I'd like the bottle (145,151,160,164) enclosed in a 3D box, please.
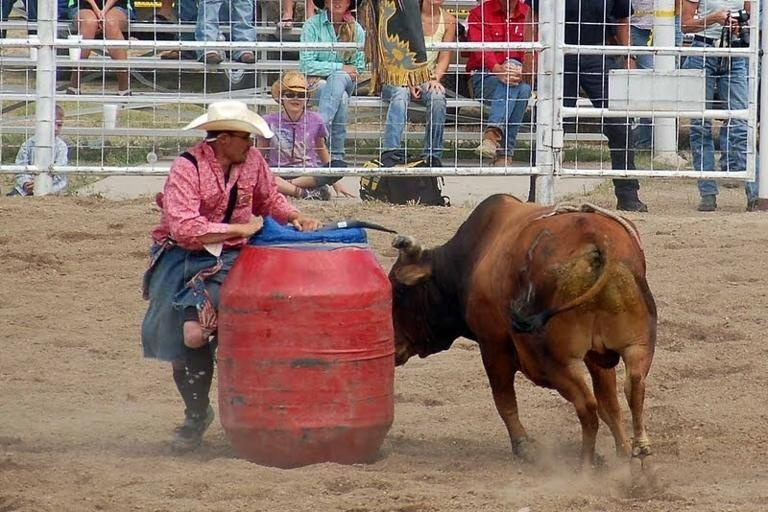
[{"bbox_3d":[-2.663,-1.128,17.151,0.201,0.208,0.047,0,-5,20],"label":"bottle"}]

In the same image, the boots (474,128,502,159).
[{"bbox_3d":[1.147,-1.219,16.399,0.173,0.321,0.454,1,1,27],"label":"boots"}]

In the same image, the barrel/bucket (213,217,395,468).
[{"bbox_3d":[-0.645,0.721,12.656,1.942,2.634,1.651,0,-4,-5],"label":"barrel/bucket"}]

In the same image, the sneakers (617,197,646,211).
[{"bbox_3d":[2.732,-0.560,16.614,0.371,0.163,0.128,0,8,7],"label":"sneakers"}]

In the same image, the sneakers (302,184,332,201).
[{"bbox_3d":[-0.767,-0.699,17.049,0.315,0.227,0.127,4,1,-12],"label":"sneakers"}]

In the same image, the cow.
[{"bbox_3d":[1.158,0.615,12.215,2.123,2.106,0.657,5,8,35],"label":"cow"}]

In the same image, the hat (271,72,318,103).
[{"bbox_3d":[-0.964,-1.813,16.316,0.313,0.192,0.402,2,-8,-9],"label":"hat"}]

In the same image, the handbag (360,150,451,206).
[{"bbox_3d":[0.204,-0.852,16.686,0.604,0.397,0.828,33,34,32],"label":"handbag"}]

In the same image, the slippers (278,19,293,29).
[{"bbox_3d":[-1.204,-2.734,17.914,0.204,0.090,0.204,-4,7,-24],"label":"slippers"}]

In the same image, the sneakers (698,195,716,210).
[{"bbox_3d":[3.634,-0.597,16.888,0.112,0.177,0.261,-2,13,-4],"label":"sneakers"}]
